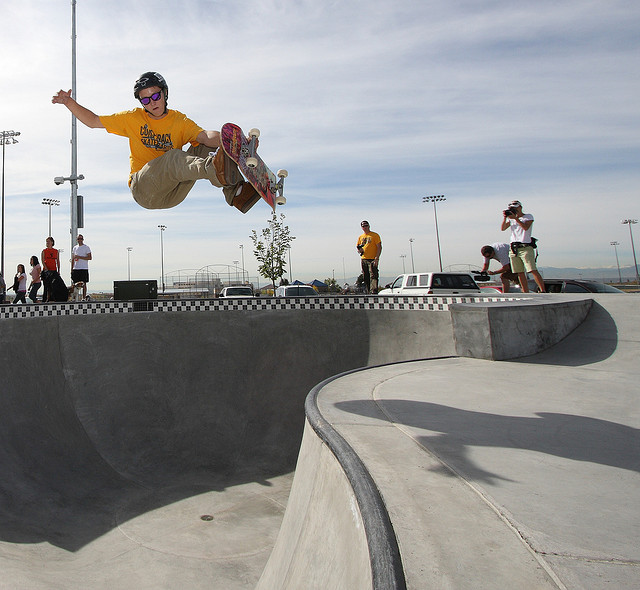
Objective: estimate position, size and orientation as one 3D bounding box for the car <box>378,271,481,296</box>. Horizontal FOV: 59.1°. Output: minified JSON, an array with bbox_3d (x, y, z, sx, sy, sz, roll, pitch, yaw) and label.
[{"bbox_3d":[2.521,-0.218,12.559,0.977,0.595,1.760,1,2,-39],"label":"car"}]

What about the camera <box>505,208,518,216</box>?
[{"bbox_3d":[2.741,-1.182,8.117,0.071,0.114,0.208,-3,12,-19],"label":"camera"}]

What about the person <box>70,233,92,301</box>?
[{"bbox_3d":[-5.148,-0.731,12.141,0.392,1.074,0.472,-4,14,-22],"label":"person"}]

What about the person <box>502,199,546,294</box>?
[{"bbox_3d":[2.940,-0.633,8.159,0.669,1.406,1.207,6,13,20],"label":"person"}]

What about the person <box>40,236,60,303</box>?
[{"bbox_3d":[-5.164,-0.431,10.806,0.333,1.364,1.213,-5,13,-26],"label":"person"}]

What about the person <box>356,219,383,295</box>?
[{"bbox_3d":[0.947,-0.656,10.677,0.341,1.399,0.801,-2,13,-14],"label":"person"}]
